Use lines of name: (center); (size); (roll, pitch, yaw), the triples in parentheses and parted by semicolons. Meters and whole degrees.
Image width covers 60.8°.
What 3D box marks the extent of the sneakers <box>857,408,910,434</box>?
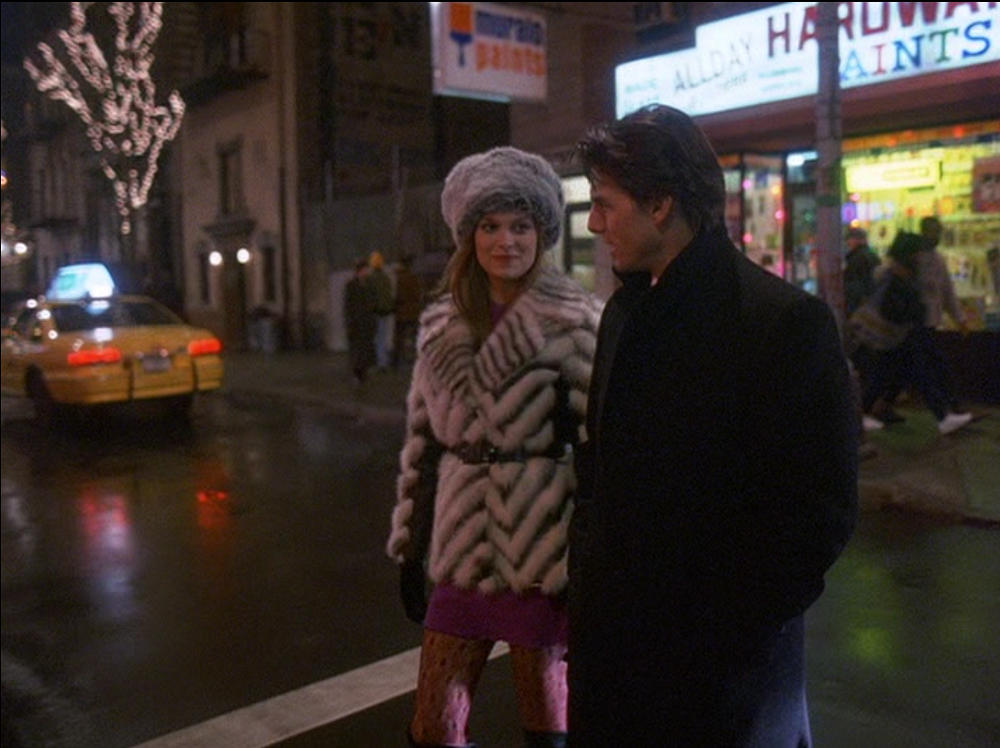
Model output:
sneakers: (3.117, 0.378, 6.952); (0.390, 0.175, 0.141); (-8, -2, 34)
